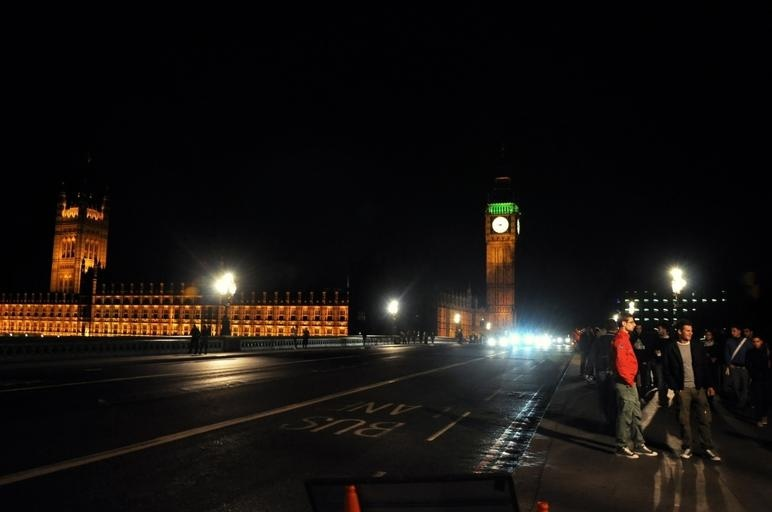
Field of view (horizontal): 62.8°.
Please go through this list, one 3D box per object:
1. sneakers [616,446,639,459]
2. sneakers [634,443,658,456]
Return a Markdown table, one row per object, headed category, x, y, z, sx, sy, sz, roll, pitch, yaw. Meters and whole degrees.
| category | x | y | z | sx | sy | sz | roll | pitch | yaw |
| --- | --- | --- | --- | --- | --- | --- | --- | --- | --- |
| sneakers | 5.215 | 4.216 | 13.567 | 0.487 | 0.198 | 0.190 | -3 | 1 | 34 |
| sneakers | 5.661 | 4.211 | 13.736 | 0.575 | 0.258 | 0.208 | -12 | -7 | 42 |
